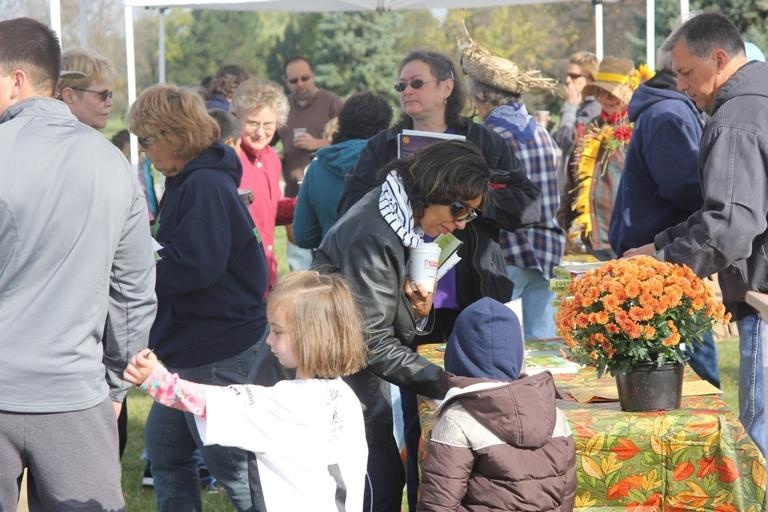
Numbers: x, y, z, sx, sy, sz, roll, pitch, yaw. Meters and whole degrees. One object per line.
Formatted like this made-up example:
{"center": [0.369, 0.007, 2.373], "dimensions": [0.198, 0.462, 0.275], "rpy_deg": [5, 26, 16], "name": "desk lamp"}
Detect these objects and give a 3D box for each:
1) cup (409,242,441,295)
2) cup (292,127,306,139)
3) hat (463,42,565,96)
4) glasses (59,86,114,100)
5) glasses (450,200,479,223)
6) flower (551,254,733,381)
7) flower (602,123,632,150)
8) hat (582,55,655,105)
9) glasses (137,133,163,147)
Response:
{"center": [0.238, 0.061, 8.358], "dimensions": [0.275, 0.337, 0.251], "rpy_deg": [1, 5, 0], "name": "cup"}
{"center": [-0.753, -1.120, 12.644], "dimensions": [0.120, 0.125, 0.116], "rpy_deg": [1, 8, 0], "name": "cup"}
{"center": [0.904, -1.461, 10.350], "dimensions": [0.556, 0.201, 0.442], "rpy_deg": [19, 7, -4], "name": "hat"}
{"center": [-1.958, -1.077, 9.293], "dimensions": [0.205, 0.056, 0.194], "rpy_deg": [3, 8, 1], "name": "glasses"}
{"center": [0.495, -0.276, 8.374], "dimensions": [0.128, 0.129, 0.041], "rpy_deg": [-1, -3, 41], "name": "glasses"}
{"center": [1.468, 0.279, 8.409], "dimensions": [0.688, 0.541, 0.717], "rpy_deg": [-5, 8, 12], "name": "flower"}
{"center": [1.711, -0.868, 10.323], "dimensions": [0.152, 0.106, 0.195], "rpy_deg": [18, 35, 40], "name": "flower"}
{"center": [1.849, -1.385, 10.947], "dimensions": [0.426, 0.298, 0.547], "rpy_deg": [-6, 12, -9], "name": "hat"}
{"center": [-1.461, -0.725, 8.868], "dimensions": [0.085, 0.026, 0.088], "rpy_deg": [8, -29, 17], "name": "glasses"}
